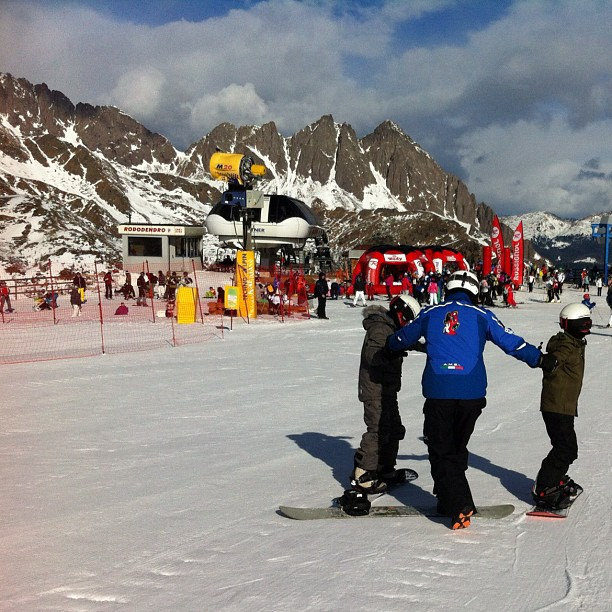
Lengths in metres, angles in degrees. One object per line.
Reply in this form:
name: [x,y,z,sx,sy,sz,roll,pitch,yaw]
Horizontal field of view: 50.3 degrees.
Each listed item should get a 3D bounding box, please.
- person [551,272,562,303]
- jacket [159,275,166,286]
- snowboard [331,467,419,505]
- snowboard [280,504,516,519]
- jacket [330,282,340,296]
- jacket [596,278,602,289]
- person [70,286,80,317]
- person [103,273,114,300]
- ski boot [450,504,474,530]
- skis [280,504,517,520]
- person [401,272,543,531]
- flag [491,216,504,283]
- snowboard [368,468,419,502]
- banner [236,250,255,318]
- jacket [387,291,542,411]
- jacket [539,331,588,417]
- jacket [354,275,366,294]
person: [13.485,-1.056,35.104,0.481,1.585,1.288,1,4,22]
jacket: [-7.725,-1.472,35.018,0.431,0.739,0.454,0,10,5]
snowboard: [0.627,1.608,5.737,0.735,0.330,0.220,-10,11,-34]
snowboard: [0.763,1.668,5.233,1.481,0.086,0.219,0,-4,-1]
jacket: [1.627,-1.042,36.989,0.684,1.043,0.544,0,-4,-7]
jacket: [17.811,-1.496,39.488,0.215,0.508,0.744,2,4,30]
person: [-8.432,-0.173,23.736,0.293,1.121,1.088,-2,4,-20]
person: [-10.337,-1.107,33.979,0.380,1.304,0.879,-2,4,-23]
ski boot: [1.170,1.593,4.893,0.096,0.256,0.114,9,35,-2]
skis: [0.765,1.672,5.228,1.860,0.125,0.218,0,-5,0]
person: [1.171,0.740,4.999,0.880,1.964,0.342,0,4,7]
flag: [13.794,-4.169,47.265,1.123,5.937,0.032,-5,36,13]
snowboard: [0.781,1.641,5.990,0.590,0.247,0.194,-13,14,-28]
banner: [-2.294,-0.850,24.328,0.725,2.529,0.696,0,4,-2]
jacket: [1.184,0.476,5.097,1.274,1.233,0.363,5,21,20]
jacket: [2.295,0.638,5.781,0.412,0.974,1.220,1,0,22]
jacket: [2.329,-0.991,28.741,0.520,0.775,0.268,7,1,17]
